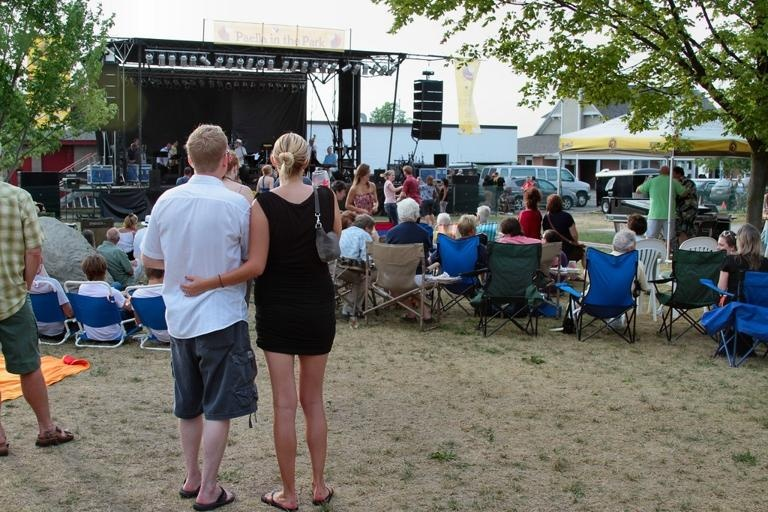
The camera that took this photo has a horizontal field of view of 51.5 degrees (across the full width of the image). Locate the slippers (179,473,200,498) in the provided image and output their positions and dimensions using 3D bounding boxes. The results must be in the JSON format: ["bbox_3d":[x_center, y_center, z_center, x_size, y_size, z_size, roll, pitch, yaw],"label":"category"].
[{"bbox_3d":[-1.632,1.945,6.729,0.120,0.096,0.242,1,2,2],"label":"slippers"}]

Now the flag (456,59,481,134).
[{"bbox_3d":[2.590,-4.881,24.502,0.752,2.109,1.509,1,8,6],"label":"flag"}]

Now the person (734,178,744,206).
[{"bbox_3d":[12.562,-2.222,27.936,0.349,0.870,1.057,4,9,24],"label":"person"}]

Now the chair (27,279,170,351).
[{"bbox_3d":[-3.291,0.673,9.086,0.720,0.796,1.270,0,1,11],"label":"chair"}]

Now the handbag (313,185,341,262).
[{"bbox_3d":[-0.460,-0.250,6.437,0.198,0.604,0.165,-1,8,-7],"label":"handbag"}]

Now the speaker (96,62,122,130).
[{"bbox_3d":[-7.752,-4.515,22.604,0.608,1.772,1.184,-2,8,-18],"label":"speaker"}]

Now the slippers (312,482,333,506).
[{"bbox_3d":[-0.487,2.002,6.660,0.213,0.129,0.102,-5,9,-33],"label":"slippers"}]

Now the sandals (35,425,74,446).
[{"bbox_3d":[-3.021,1.624,7.282,0.290,0.145,0.157,-4,5,-39],"label":"sandals"}]
